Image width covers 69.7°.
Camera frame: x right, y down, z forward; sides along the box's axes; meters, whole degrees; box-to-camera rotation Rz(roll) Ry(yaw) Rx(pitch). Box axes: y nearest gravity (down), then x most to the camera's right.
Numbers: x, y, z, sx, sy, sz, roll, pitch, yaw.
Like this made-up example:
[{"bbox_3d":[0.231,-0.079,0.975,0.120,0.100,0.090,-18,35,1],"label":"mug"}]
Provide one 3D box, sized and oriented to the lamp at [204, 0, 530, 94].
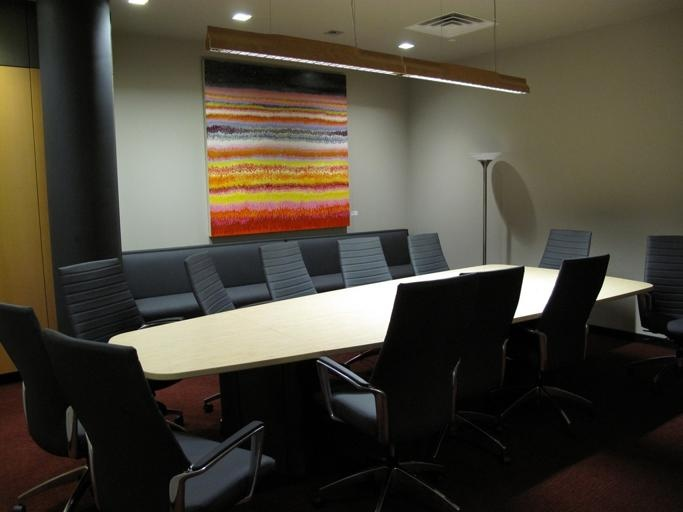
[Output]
[{"bbox_3d":[0.329,-1.609,4.091,2.921,0.264,0.147,-8,13,-31],"label":"lamp"}]
